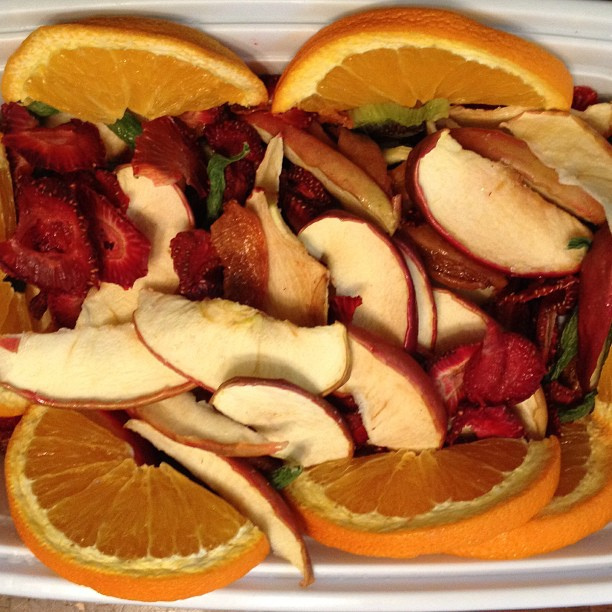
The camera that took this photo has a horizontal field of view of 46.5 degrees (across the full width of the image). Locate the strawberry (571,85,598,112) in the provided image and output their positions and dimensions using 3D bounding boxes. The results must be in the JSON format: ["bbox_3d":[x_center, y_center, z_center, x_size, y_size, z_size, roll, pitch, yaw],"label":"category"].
[{"bbox_3d":[0.425,-0.319,1.090,0.043,0.015,0.037,2,-31,7],"label":"strawberry"}]

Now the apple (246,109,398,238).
[{"bbox_3d":[0.016,-0.194,1.064,0.317,0.055,0.071,28,28,2],"label":"apple"}]

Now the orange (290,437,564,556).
[{"bbox_3d":[0.167,0.284,1.073,0.391,0.155,0.160,4,24,7],"label":"orange"}]

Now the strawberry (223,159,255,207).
[{"bbox_3d":[-0.101,-0.184,1.074,0.077,0.065,0.021,-2,7,-21],"label":"strawberry"}]

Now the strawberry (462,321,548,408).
[{"bbox_3d":[0.314,0.092,1.088,0.144,0.143,0.064,0,28,-4],"label":"strawberry"}]

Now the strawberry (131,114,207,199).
[{"bbox_3d":[-0.204,-0.221,1.057,0.106,0.119,0.066,-3,27,-10],"label":"strawberry"}]

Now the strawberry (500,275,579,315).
[{"bbox_3d":[0.354,-0.018,1.127,0.120,0.029,0.123,-4,-13,23],"label":"strawberry"}]

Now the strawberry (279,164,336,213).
[{"bbox_3d":[-0.020,-0.179,1.147,0.106,0.031,0.145,15,-6,-9],"label":"strawberry"}]

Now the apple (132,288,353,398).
[{"bbox_3d":[-0.093,0.051,1.023,0.310,0.124,0.121,1,25,0],"label":"apple"}]

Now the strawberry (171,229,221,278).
[{"bbox_3d":[-0.162,-0.075,1.040,0.085,0.061,0.023,4,2,-14],"label":"strawberry"}]

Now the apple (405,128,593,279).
[{"bbox_3d":[0.272,-0.127,1.235,0.180,0.094,0.378,46,1,-3],"label":"apple"}]

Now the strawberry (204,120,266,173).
[{"bbox_3d":[-0.110,-0.246,1.111,0.099,0.027,0.113,9,-11,27],"label":"strawberry"}]

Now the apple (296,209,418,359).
[{"bbox_3d":[0.115,-0.047,1.113,0.249,0.204,0.078,0,29,25],"label":"apple"}]
